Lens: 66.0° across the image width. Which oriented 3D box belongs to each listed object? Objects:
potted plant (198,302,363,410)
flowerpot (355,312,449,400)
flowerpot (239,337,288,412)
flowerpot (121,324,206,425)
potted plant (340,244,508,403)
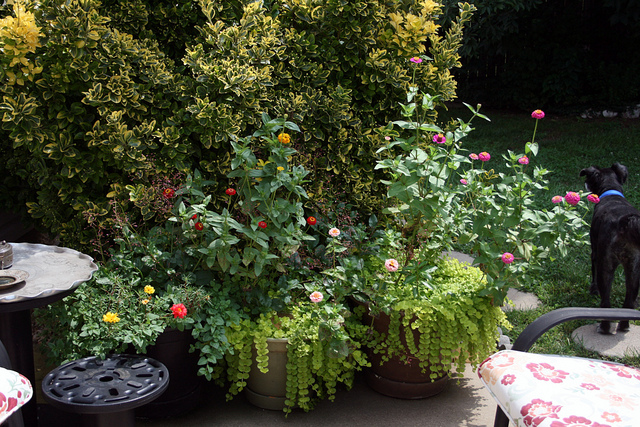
[{"bbox_3d":[-0.272,0.852,3.214,0.883,0.485,0.716,4,3,-2],"label":"potted plant"},{"bbox_3d":[0.540,0.903,3.476,0.576,0.445,0.609,-1,13,-8],"label":"flowerpot"},{"bbox_3d":[-0.339,1.009,3.111,0.292,0.530,0.146,0,9,5],"label":"flowerpot"},{"bbox_3d":[-0.973,0.973,3.280,0.581,0.443,0.605,0,6,-2],"label":"flowerpot"},{"bbox_3d":[0.626,0.722,3.417,1.072,0.829,1.128,-1,9,-15],"label":"potted plant"}]
